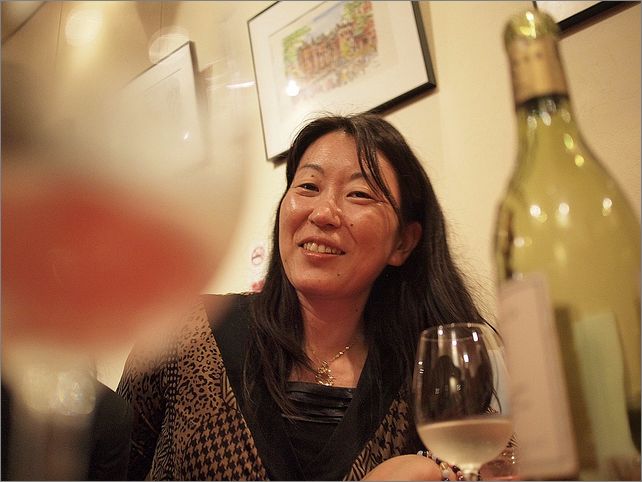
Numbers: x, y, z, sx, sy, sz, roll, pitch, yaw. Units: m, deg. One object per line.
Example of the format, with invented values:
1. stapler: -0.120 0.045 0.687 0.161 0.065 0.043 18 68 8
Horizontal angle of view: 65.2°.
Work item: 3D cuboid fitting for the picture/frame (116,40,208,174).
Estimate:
1. picture/frame: -0.065 -0.053 0.201 0.042 0.058 0.007 -25 -34 9
